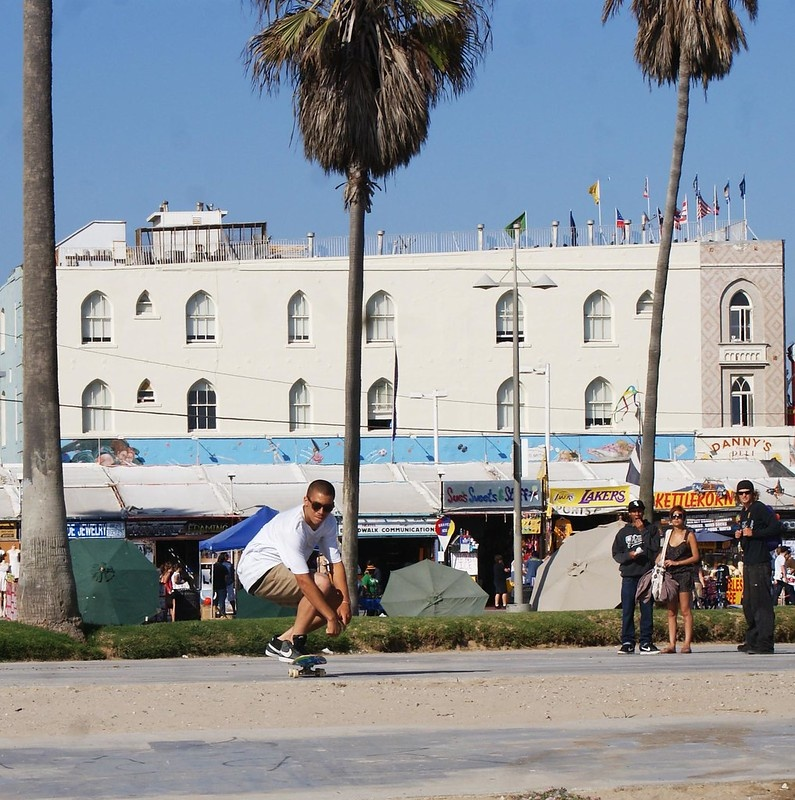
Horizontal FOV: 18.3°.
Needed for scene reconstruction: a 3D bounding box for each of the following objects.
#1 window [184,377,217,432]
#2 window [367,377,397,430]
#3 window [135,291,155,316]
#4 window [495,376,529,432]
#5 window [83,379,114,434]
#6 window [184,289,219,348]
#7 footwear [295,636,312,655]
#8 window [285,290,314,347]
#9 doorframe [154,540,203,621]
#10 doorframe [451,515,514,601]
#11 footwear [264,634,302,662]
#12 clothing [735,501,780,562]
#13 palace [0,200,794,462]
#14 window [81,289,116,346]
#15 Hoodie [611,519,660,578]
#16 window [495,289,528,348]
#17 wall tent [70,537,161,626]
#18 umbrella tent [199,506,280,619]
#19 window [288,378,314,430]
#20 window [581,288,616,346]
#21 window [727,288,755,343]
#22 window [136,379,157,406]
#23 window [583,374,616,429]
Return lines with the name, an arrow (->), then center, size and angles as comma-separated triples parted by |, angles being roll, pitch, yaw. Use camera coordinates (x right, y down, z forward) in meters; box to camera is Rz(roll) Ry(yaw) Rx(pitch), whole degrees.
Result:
window -> -5.799, 0.124, 72.758 | 0.873, 1.931, 0.066 | 0, -37, -5
window -> -0.601, 0.113, 73.909 | 0.760, 1.518, 0.891 | -1, -3, -1
window -> -7.506, -2.859, 72.971 | 0.540, 1.203, 0.117 | 1, -7, -13
window -> 3.346, 0.097, 74.647 | 0.911, 2.009, 0.164 | 2, -35, 0
window -> -8.779, 0.201, 72.151 | 0.845, 0.199, 2.048 | -1, -50, -7
window -> -5.878, -2.481, 73.156 | 0.891, 1.906, 0.131 | 0, -35, -6
footwear -> -1.093, 2.771, 28.004 | 0.136, 0.231, 0.203 | 0, -6, -5
window -> -2.997, -2.516, 73.860 | 0.686, 1.787, 0.132 | -1, 38, -4
doorframe -> -4.552, 4.020, 51.723 | 0.823, 1.621, 0.850 | -2, -7, -30
doorframe -> 2.166, 3.920, 61.678 | 1.627, 3.545, 1.823 | 0, -3, -4
footwear -> -1.382, 2.822, 28.085 | 0.517, 0.273, 0.186 | 8, 4, 32
clothing -> 4.697, 1.688, 32.184 | 0.379, 0.893, 0.591 | -2, -2, -11
palace -> -0.056, -1.791, 73.843 | 22.421, 7.433, 3.647 | -1, -3, -5
window -> -8.883, -2.438, 72.594 | 0.860, 1.808, 0.163 | -1, 33, -7
Hoodie -> 3.072, 1.969, 32.451 | 0.509, 0.867, 0.436 | -4, -4, 10
window -> 3.361, -2.745, 75.476 | 0.894, 0.203, 1.908 | 1, -41, 3
wall tent -> -4.695, 2.959, 41.251 | 1.325, 1.614, 1.003 | 8, -19, -17
umbrella tent -> -3.089, 3.203, 48.339 | 2.009, 2.358, 2.325 | -1, 3, -23
window -> -2.952, 0.154, 73.460 | 0.630, 1.817, 0.130 | 0, 31, -1
window -> 5.996, -2.619, 75.360 | 0.848, 1.881, 0.195 | -1, -33, 4
window -> 10.231, -2.511, 74.772 | 0.679, 1.813, 0.195 | 1, 32, 11
window -> -7.407, -0.233, 72.510 | 0.586, 1.076, 0.079 | 1, -8, -9
window -> 5.987, 0.087, 74.756 | 0.827, 1.834, 0.131 | 0, 35, 4
